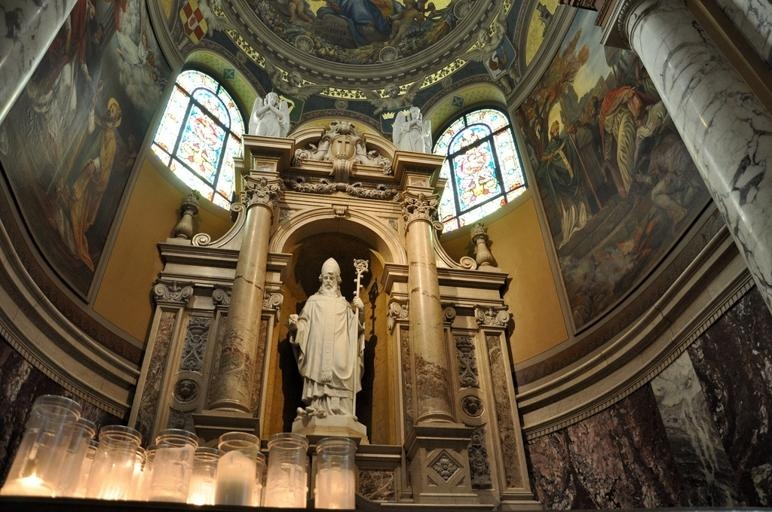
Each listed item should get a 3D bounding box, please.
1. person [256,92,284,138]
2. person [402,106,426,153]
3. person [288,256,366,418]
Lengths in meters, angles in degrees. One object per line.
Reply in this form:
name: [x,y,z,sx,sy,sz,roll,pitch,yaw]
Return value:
person: [-1.895,-2.184,8.429,0.481,1.151,0.291,3,-26,-10]
person: [0.483,-2.032,8.795,0.352,1.168,0.274,6,-24,-9]
person: [-0.769,1.015,6.852,0.964,2.276,0.491,4,-40,-3]
